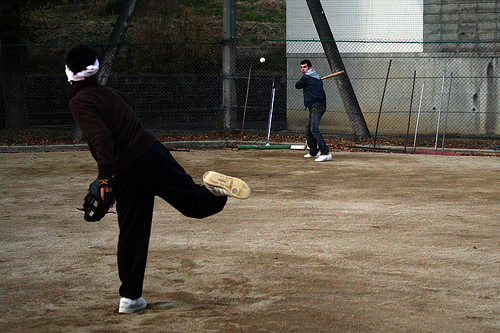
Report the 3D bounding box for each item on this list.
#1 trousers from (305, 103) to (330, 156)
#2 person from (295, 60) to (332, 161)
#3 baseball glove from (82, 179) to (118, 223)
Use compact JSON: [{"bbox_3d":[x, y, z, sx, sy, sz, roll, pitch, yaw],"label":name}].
[{"bbox_3d":[1.666,-0.890,13.697,0.498,1.348,0.856,0,13,1],"label":"trousers"},{"bbox_3d":[1.576,-1.393,13.796,0.789,2.487,1.382,-1,13,-2],"label":"person"},{"bbox_3d":[-1.485,0.335,5.571,0.361,0.439,0.209,20,11,5],"label":"baseball glove"}]
